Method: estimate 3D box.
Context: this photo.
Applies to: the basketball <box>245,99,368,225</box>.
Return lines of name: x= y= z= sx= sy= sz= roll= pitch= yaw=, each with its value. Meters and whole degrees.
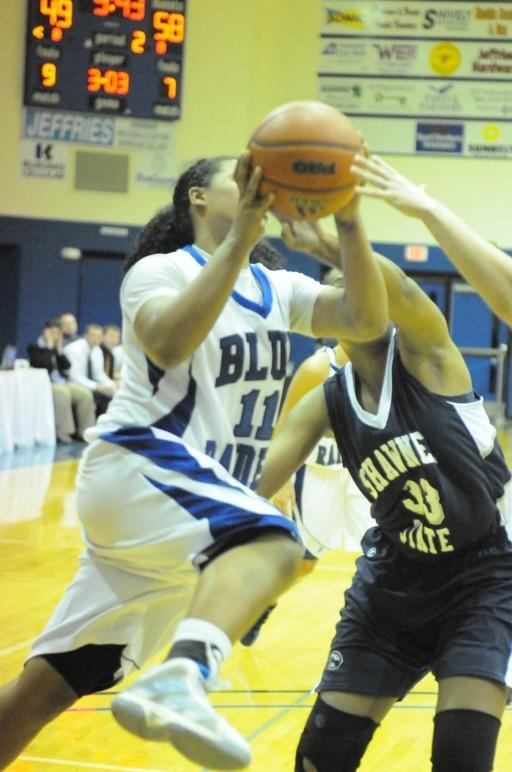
basketball: x=0.091 y=-0.389 z=1.301 sx=0.184 sy=0.201 sz=0.168 roll=-19 pitch=28 yaw=-38

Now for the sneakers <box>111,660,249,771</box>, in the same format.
sneakers: x=-0.092 y=0.423 z=0.970 sx=0.182 sy=0.128 sz=0.108 roll=4 pitch=9 yaw=4
